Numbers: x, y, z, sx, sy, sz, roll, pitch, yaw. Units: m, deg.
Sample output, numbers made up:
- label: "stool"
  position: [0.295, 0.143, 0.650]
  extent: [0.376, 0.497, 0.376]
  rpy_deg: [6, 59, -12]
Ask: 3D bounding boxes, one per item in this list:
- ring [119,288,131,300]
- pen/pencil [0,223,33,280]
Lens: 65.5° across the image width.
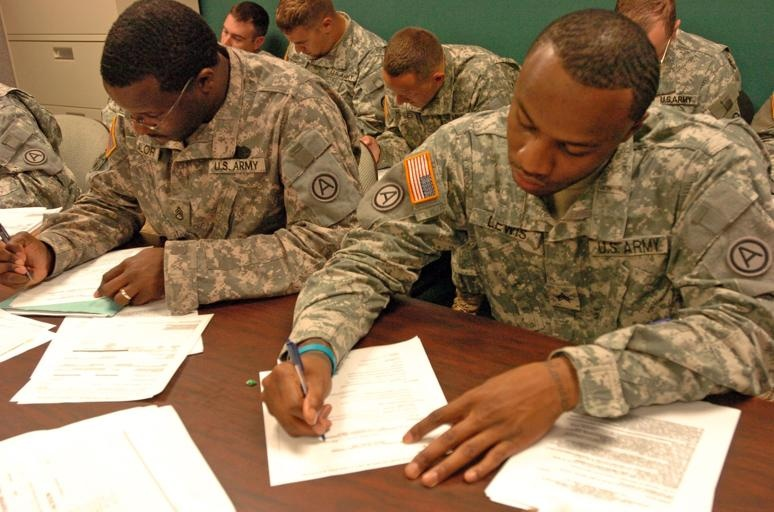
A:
- label: "ring"
  position: [-0.760, 0.112, 1.742]
  extent: [0.022, 0.033, 0.032]
  rpy_deg: [-17, 3, -38]
- label: "pen/pencil"
  position: [-1.144, -0.006, 1.856]
  extent: [0.204, 0.028, 0.028]
  rpy_deg: [53, 47, 2]
